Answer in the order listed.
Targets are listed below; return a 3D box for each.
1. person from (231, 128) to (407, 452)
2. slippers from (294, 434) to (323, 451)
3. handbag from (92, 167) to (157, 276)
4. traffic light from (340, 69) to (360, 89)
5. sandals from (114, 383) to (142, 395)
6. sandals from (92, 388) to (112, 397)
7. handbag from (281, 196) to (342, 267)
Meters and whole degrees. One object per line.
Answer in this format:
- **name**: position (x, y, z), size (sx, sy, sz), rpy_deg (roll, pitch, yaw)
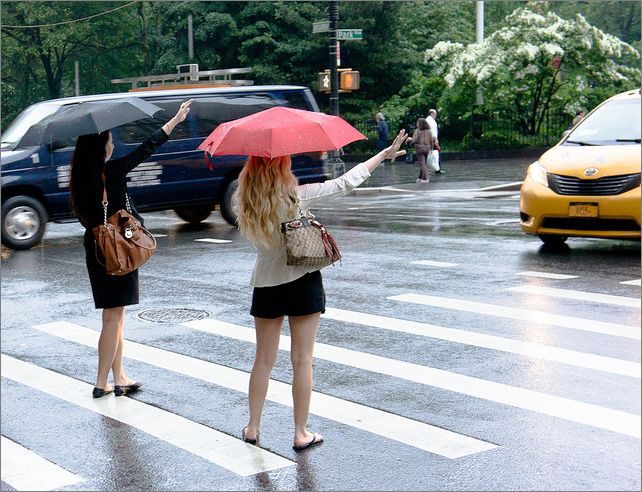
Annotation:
- **person**: position (-0.171, 0.354, 5.880), size (0.717, 1.973, 0.810), rpy_deg (5, 13, 30)
- **slippers**: position (-0.093, 1.335, 5.750), size (0.171, 0.045, 0.093), rpy_deg (-18, 22, -30)
- **handbag**: position (-1.546, -0.160, 6.663), size (0.293, 0.782, 0.459), rpy_deg (6, 14, 34)
- **traffic light**: position (0.735, -4.327, 21.980), size (0.444, 0.484, 0.357), rpy_deg (-3, 11, -5)
- **sandals**: position (-1.554, 1.158, 6.808), size (0.074, 0.057, 0.202), rpy_deg (6, 14, 44)
- **sandals**: position (-1.754, 1.174, 6.761), size (0.065, 0.046, 0.127), rpy_deg (5, 9, 24)
- **handbag**: position (-0.066, -0.012, 5.632), size (0.381, 0.334, 0.180), rpy_deg (-3, 11, -8)
